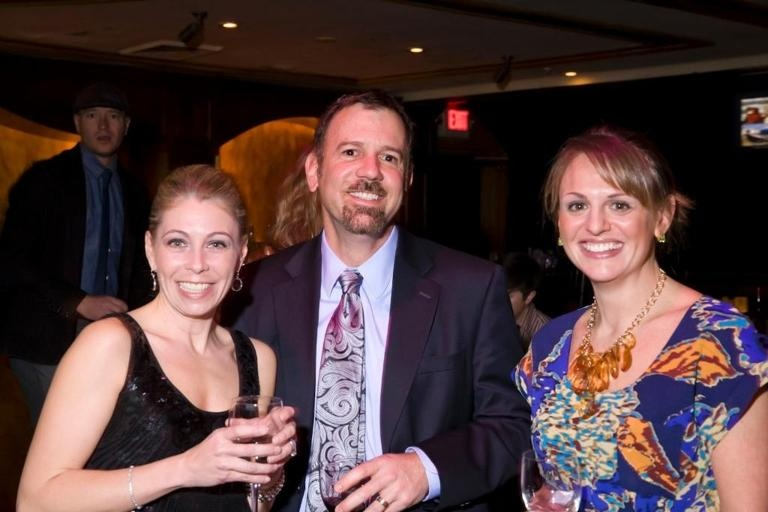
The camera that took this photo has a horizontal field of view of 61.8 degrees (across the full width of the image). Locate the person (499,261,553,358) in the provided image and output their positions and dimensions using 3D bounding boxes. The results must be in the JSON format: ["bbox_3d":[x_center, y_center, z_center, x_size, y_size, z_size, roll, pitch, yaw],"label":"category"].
[{"bbox_3d":[0.994,0.352,4.521,0.427,0.809,0.853,-2,-2,10],"label":"person"}]

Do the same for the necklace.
[{"bbox_3d":[1.075,0.354,2.897,0.094,0.612,0.357,37,-15,-30],"label":"necklace"}]
